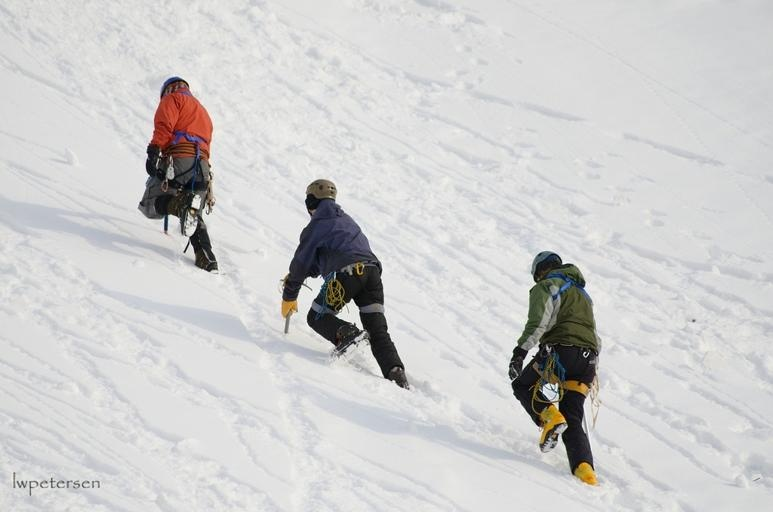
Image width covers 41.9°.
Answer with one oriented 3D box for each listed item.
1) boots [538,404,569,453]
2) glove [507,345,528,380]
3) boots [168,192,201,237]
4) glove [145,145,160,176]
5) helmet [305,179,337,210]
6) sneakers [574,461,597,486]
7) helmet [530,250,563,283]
[{"bbox_3d":[2.806,2.926,17.475,0.292,0.563,0.810,2,-44,-24],"label":"boots"},{"bbox_3d":[2.301,1.873,17.706,0.339,0.573,0.229,23,1,29],"label":"glove"},{"bbox_3d":[-3.725,-0.829,18.764,0.363,1.062,0.494,9,-8,-35],"label":"boots"},{"bbox_3d":[-4.269,-1.765,18.513,0.177,0.488,0.358,8,3,27],"label":"glove"},{"bbox_3d":[-1.179,-1.121,18.369,0.585,0.556,0.457,10,5,17],"label":"helmet"},{"bbox_3d":[3.401,3.708,17.201,0.434,0.263,0.172,50,2,20],"label":"sneakers"},{"bbox_3d":[2.916,0.163,18.058,0.457,0.563,0.568,-10,15,-37],"label":"helmet"}]
